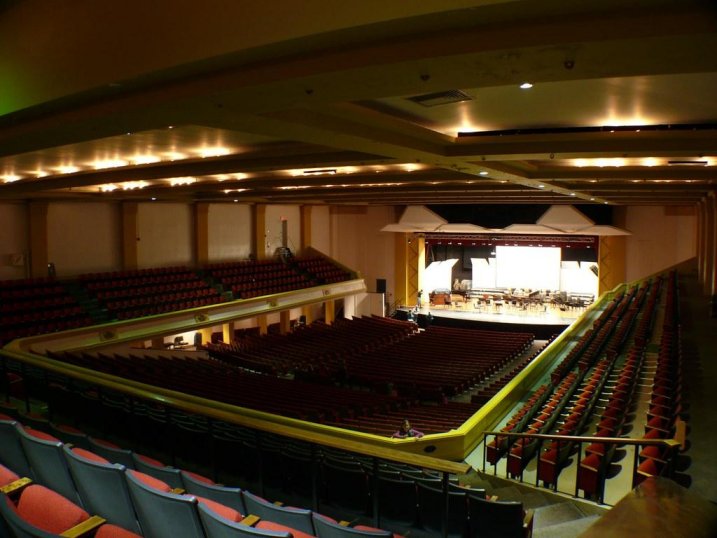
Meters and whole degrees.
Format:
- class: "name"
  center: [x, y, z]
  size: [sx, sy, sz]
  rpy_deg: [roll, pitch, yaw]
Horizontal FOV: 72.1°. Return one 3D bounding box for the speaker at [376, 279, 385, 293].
- class: "speaker"
  center: [1.369, 1.038, 30.177]
  size: [0.687, 0.807, 0.201]
  rpy_deg: [0, 0, 37]
